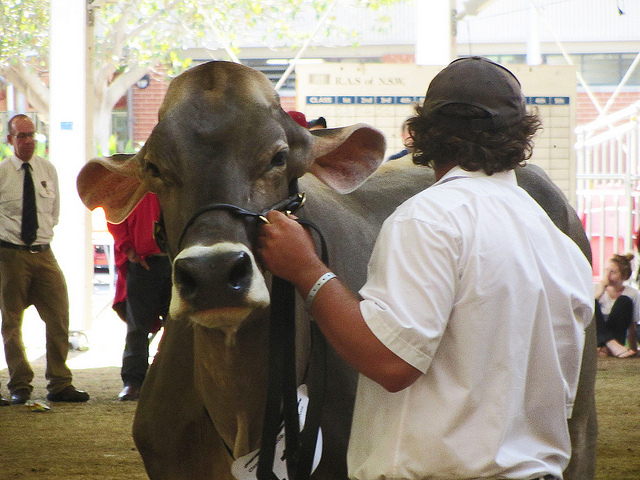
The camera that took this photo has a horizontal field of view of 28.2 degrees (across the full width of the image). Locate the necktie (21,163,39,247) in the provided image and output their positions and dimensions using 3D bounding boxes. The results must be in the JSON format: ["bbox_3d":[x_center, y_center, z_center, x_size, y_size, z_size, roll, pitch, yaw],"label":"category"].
[{"bbox_3d":[-3.224,-0.394,13.961,0.177,0.890,0.233,-1,2,-13],"label":"necktie"}]
